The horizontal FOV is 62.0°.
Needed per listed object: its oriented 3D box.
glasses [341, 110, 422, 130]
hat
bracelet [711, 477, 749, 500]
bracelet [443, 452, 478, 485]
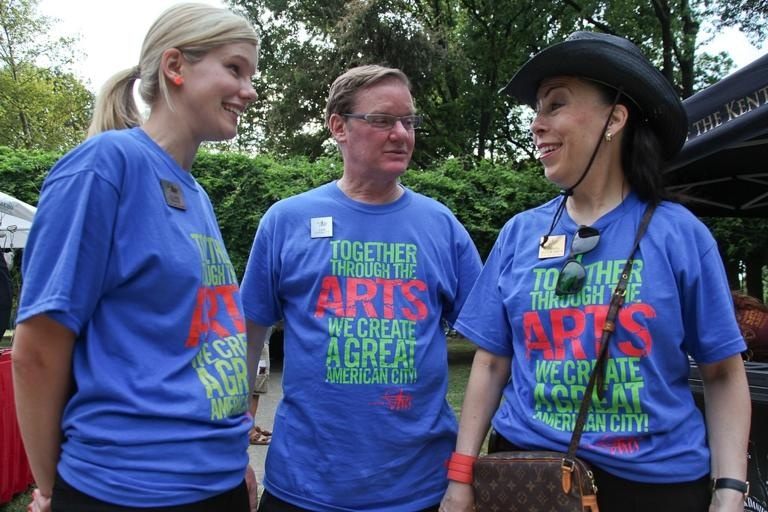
[{"bbox_3d":[-0.023,-0.702,3.351,0.187,0.054,0.190,-1,2,-39],"label":"glasses"},{"bbox_3d":[0.922,-0.846,3.050,0.832,0.375,0.681,17,-11,-31],"label":"hat"},{"bbox_3d":[1.423,0.934,2.611,0.123,0.077,0.123,17,-7,-4],"label":"bracelet"},{"bbox_3d":[0.348,0.968,2.898,0.114,0.095,0.124,1,-13,16],"label":"bracelet"}]
